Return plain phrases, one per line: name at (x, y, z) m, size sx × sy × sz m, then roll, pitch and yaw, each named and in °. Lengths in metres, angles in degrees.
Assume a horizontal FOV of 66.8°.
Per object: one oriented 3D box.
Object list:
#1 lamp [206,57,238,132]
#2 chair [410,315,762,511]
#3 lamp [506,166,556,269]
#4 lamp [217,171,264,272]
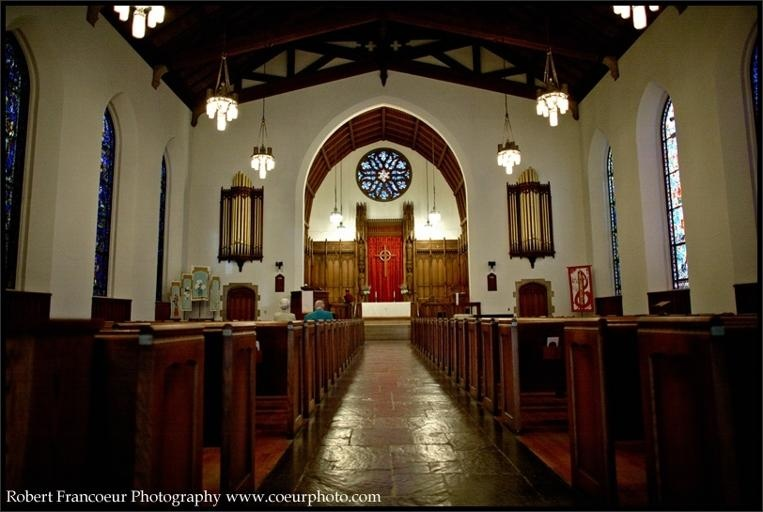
lamp at (-2.771, -2.939, 10.085) m, size 0.504 × 1.212 × 0.517 m, roll 6°, pitch 10°, yaw 14°
chair at (1.944, 1.333, 5.515) m, size 0.974 × 1.527 × 3.232 m, roll 0°, pitch -6°, yaw -15°
lamp at (3.948, -1.018, 15.289) m, size 1.185 × 2.579 × 0.383 m, roll -3°, pitch -6°, yaw 15°
lamp at (-3.684, -0.918, 15.200) m, size 1.169 × 2.558 × 0.443 m, roll 0°, pitch -6°, yaw -17°
